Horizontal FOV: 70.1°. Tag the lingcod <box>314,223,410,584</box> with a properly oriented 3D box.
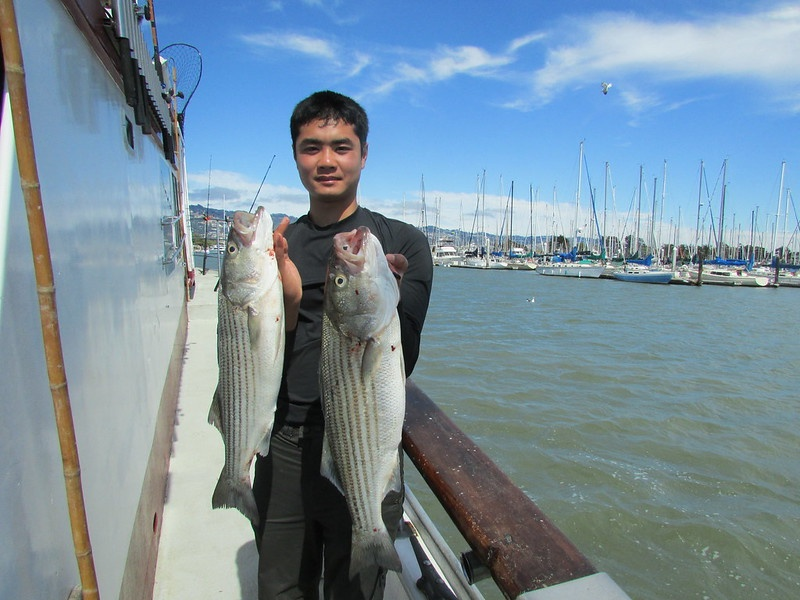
[{"bbox_3d":[-0.167,0.451,2.507,0.388,1.531,0.315,2,8,-2],"label":"lingcod"}]

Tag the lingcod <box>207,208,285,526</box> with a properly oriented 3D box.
[{"bbox_3d":[-0.711,0.311,2.619,0.350,1.466,0.292,1,8,-7],"label":"lingcod"}]
